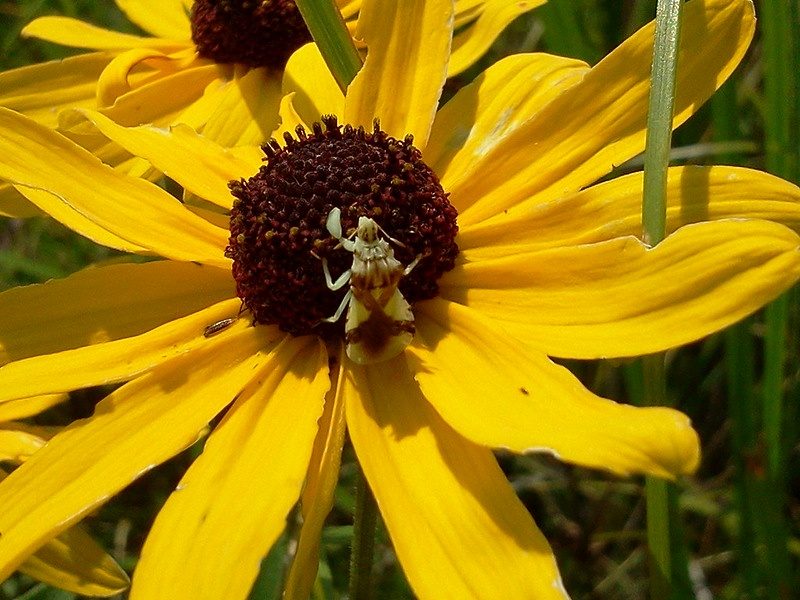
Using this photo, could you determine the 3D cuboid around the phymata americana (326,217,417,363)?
[{"bbox_3d":[-0.052,-0.021,1.880,0.211,0.306,0.087,-5,5,-16],"label":"phymata americana"}]
